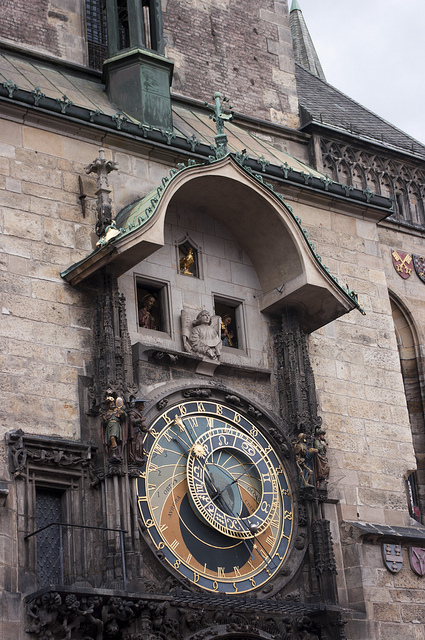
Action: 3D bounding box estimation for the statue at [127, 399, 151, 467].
[{"bbox_3d":[-0.927,1.387,19.437,0.202,0.873,0.510,-10,-17,11],"label":"statue"}]

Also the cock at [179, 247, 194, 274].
[{"bbox_3d":[-0.395,-0.792,21.773,0.191,0.325,0.138,-17,-61,6],"label":"cock"}]

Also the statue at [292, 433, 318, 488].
[{"bbox_3d":[1.192,1.863,20.910,0.317,0.739,0.219,-7,-17,2],"label":"statue"}]

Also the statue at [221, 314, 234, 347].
[{"bbox_3d":[0.164,0.151,21.824,0.122,0.537,0.378,-9,-17,10],"label":"statue"}]

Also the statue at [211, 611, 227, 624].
[{"bbox_3d":[0.050,3.620,19.187,0.060,0.144,0.235,-21,-22,40],"label":"statue"}]

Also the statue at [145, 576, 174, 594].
[{"bbox_3d":[-0.666,3.170,18.889,0.174,0.219,0.436,-16,-20,31],"label":"statue"}]

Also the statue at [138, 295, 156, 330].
[{"bbox_3d":[-0.909,-0.092,20.933,0.134,0.497,0.349,-17,-20,31],"label":"statue"}]

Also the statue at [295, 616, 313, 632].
[{"bbox_3d":[1.109,3.831,19.907,0.146,0.180,0.112,9,-42,-21],"label":"statue"}]

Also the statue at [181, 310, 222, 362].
[{"bbox_3d":[-0.200,0.239,21.009,0.523,0.627,0.211,22,-50,-20],"label":"statue"}]

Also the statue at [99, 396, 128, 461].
[{"bbox_3d":[-1.197,1.324,19.182,0.331,0.792,0.208,-4,-17,-6],"label":"statue"}]

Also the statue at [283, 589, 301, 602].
[{"bbox_3d":[0.977,3.507,20.025,0.150,0.138,0.039,-15,-41,-28],"label":"statue"}]
